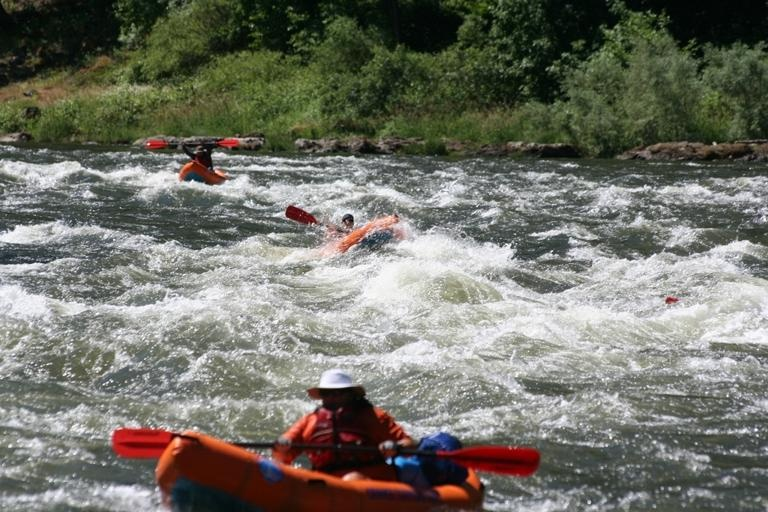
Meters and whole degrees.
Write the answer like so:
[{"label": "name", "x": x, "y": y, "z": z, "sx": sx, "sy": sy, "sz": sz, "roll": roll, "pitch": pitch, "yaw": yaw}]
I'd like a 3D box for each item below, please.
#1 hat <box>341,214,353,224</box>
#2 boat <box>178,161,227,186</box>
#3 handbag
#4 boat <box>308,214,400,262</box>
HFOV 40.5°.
[{"label": "hat", "x": -0.920, "y": -0.951, "z": 26.397, "sx": 0.277, "sy": 0.256, "sz": 0.219, "roll": -6, "pitch": -18, "yaw": 33}, {"label": "boat", "x": -5.357, "y": -2.395, "z": 30.629, "sx": 1.383, "sy": 0.664, "sz": 0.769, "roll": -2, "pitch": 13, "yaw": -9}, {"label": "handbag", "x": 0.746, "y": 3.680, "z": 19.028, "sx": 1.082, "sy": 0.440, "sz": 1.352, "roll": 2, "pitch": 1, "yaw": 8}, {"label": "boat", "x": -0.748, "y": -0.389, "z": 25.808, "sx": 2.309, "sy": 0.593, "sz": 0.474, "roll": -17, "pitch": 36, "yaw": -11}]
